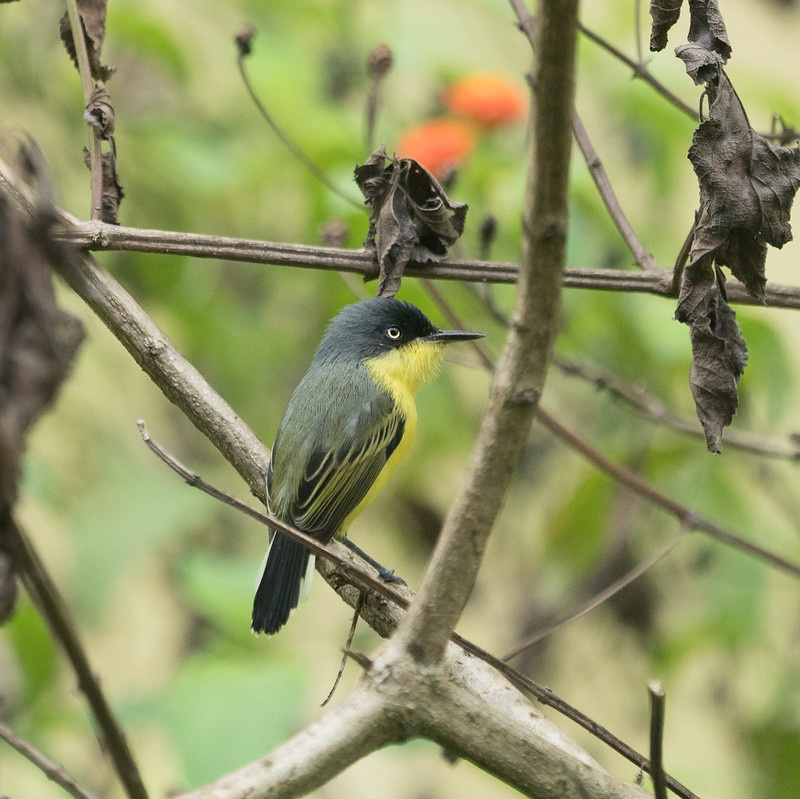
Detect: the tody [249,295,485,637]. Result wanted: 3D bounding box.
[{"bbox_3d":[-0.158,0.184,4.125,0.546,1.066,0.688,10,-55,-7],"label":"tody"}]
